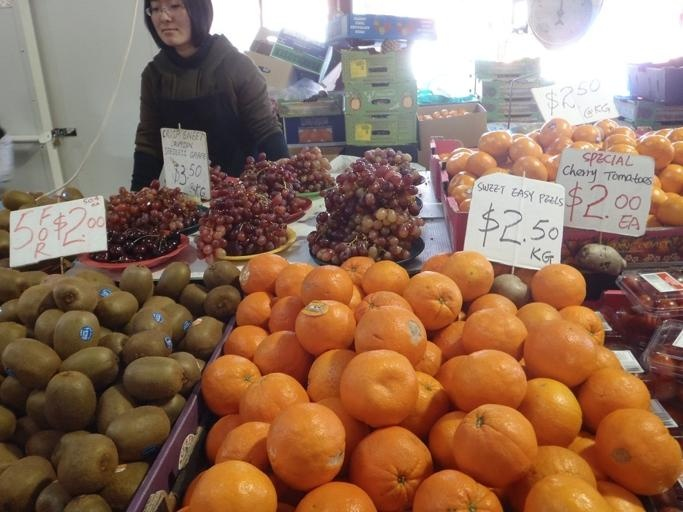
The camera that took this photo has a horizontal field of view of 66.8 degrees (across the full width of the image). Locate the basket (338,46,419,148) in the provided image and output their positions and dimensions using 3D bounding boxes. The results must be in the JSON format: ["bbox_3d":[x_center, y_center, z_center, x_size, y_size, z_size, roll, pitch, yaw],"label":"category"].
[{"bbox_3d":[0.327,-1.358,4.743,0.816,1.037,0.742,-1,16,3],"label":"basket"}]
